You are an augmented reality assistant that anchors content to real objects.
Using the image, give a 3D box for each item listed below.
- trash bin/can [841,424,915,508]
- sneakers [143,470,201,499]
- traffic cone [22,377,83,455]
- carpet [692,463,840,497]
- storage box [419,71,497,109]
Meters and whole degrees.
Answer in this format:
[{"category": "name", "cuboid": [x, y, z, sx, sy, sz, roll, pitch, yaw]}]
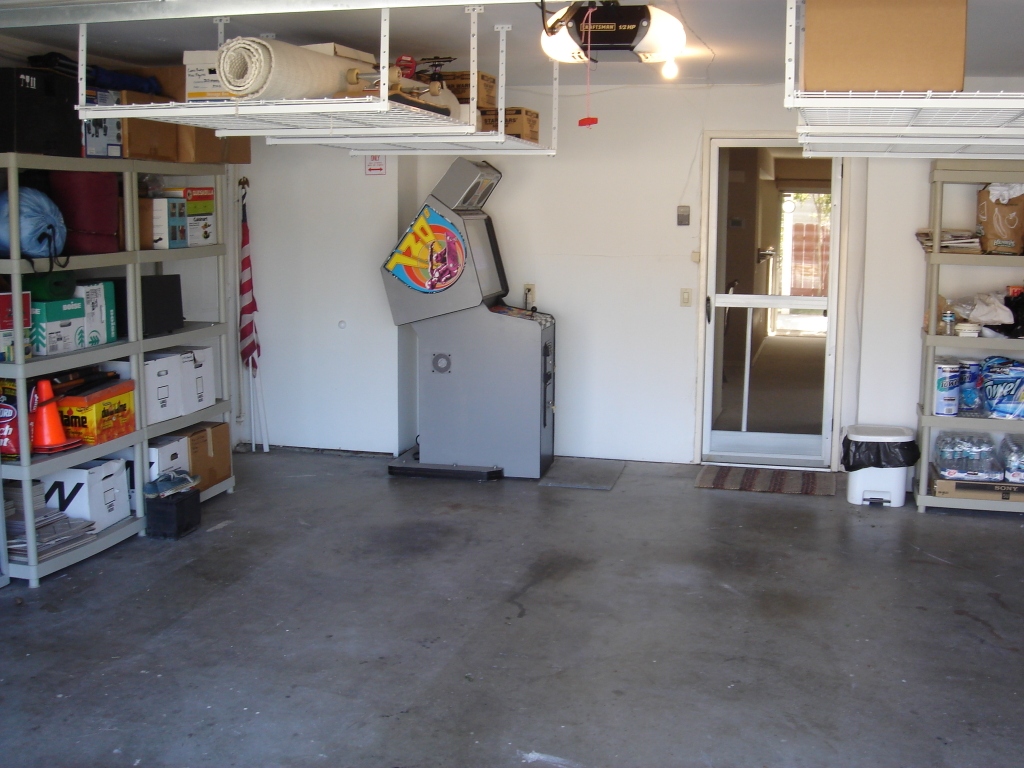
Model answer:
[{"category": "trash bin/can", "cuboid": [2.779, 0.627, 6.250, 0.544, 0.590, 0.571, 6, 15, 29]}, {"category": "sneakers", "cuboid": [-2.343, 0.690, 5.596, 0.183, 0.080, 0.241, 10, 14, 39]}, {"category": "traffic cone", "cuboid": [-2.789, 0.194, 4.922, 0.203, 0.428, 0.195, 2, 7, 11]}, {"category": "carpet", "cuboid": [2.114, 0.788, 6.648, 1.164, 0.080, 0.639, 2, 8, 12]}, {"category": "storage box", "cuboid": [-0.332, -1.900, 5.266, 0.392, 0.296, 0.675, 1, 7, 4]}]
